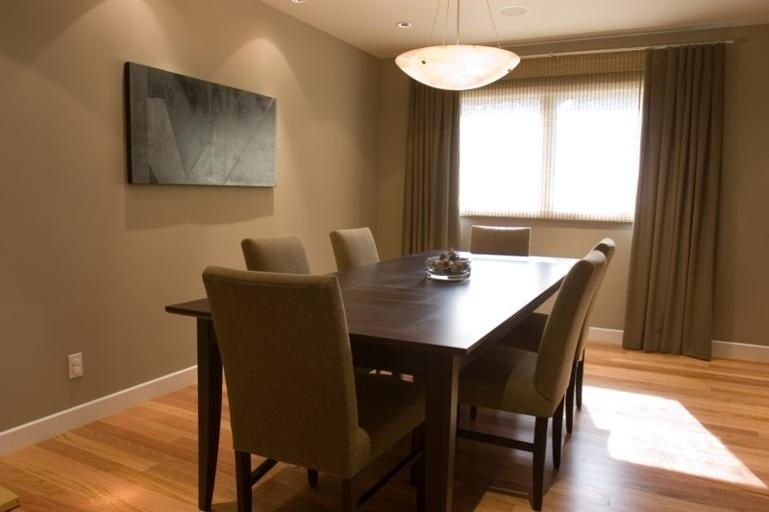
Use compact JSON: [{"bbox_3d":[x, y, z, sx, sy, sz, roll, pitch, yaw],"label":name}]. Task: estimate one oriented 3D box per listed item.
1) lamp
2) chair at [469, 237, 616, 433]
[{"bbox_3d":[0.666,-1.816,4.946,0.859,0.952,0.823,7,9,31],"label":"lamp"},{"bbox_3d":[1.331,0.477,5.025,1.283,2.175,1.132,4,6,28],"label":"chair"}]
